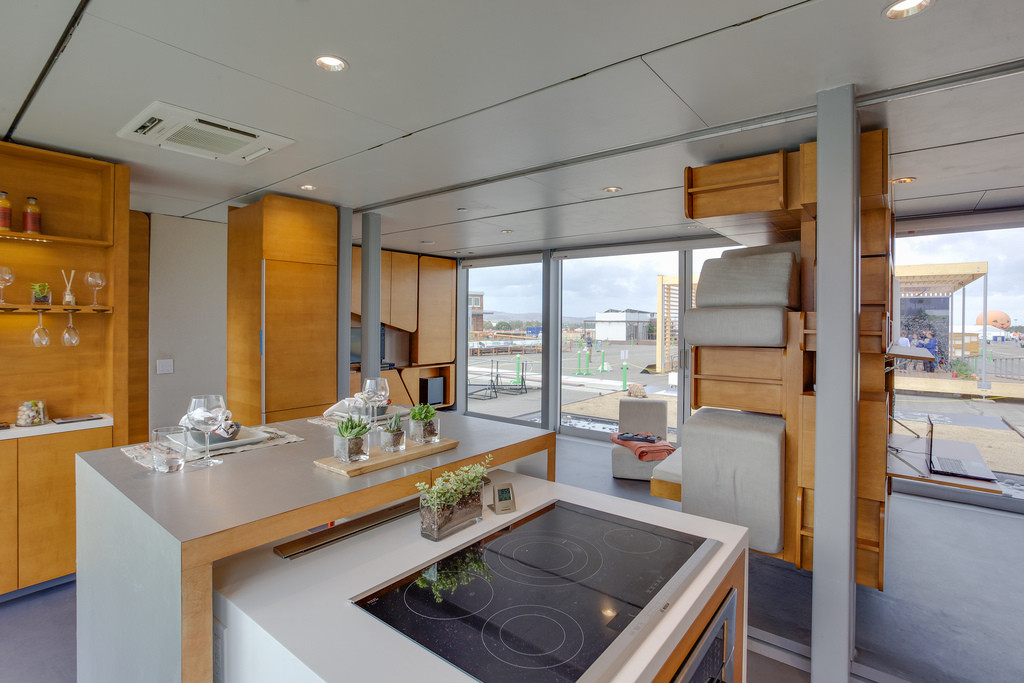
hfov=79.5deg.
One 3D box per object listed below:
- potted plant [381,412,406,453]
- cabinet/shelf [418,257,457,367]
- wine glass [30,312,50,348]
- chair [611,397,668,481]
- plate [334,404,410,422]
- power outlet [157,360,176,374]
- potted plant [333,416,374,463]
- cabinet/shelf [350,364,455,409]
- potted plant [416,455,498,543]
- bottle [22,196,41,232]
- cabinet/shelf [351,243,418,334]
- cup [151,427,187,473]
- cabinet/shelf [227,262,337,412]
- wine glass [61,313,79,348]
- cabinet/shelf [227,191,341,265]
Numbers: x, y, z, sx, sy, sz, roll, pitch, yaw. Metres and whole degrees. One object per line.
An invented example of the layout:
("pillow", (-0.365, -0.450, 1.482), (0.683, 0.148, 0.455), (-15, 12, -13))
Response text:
("potted plant", (-0.632, 0.479, 3.296), (0.135, 0.171, 0.167), (2, 14, -12))
("cabinet/shelf", (-1.076, -0.483, 9.445), (0.788, 1.640, 0.195), (2, 3, 35))
("wine glass", (-3.489, -0.081, 4.548), (0.112, 0.267, 0.202), (-6, 17, -37))
("chair", (1.363, 1.031, 6.559), (0.574, 0.724, 0.634), (2, 8, 22))
("plate", (-0.904, 0.418, 3.679), (0.219, 0.050, 0.229), (0, -1, 24))
("power outlet", (-3.575, 0.253, 6.350), (0.015, 0.131, 0.151), (1, 0, 39))
("potted plant", (-0.796, 0.500, 3.276), (0.211, 0.278, 0.249), (-1, -3, 43))
("cabinet/shelf", (-1.567, 0.659, 9.064), (0.340, 0.570, 1.726), (2, 1, 35))
("potted plant", (-0.317, 0.757, 3.095), (0.152, 0.358, 0.463), (-5, -2, 25))
("bottle", (-3.444, -0.907, 4.416), (0.112, 0.245, 0.218), (-6, 17, -37))
("cabinet/shelf", (-1.610, -0.790, 9.134), (0.462, 1.139, 1.323), (-9, 18, -43))
("cup", (-1.734, 0.521, 3.104), (0.173, 0.213, 0.208), (-2, 15, -24))
("cabinet/shelf", (-2.162, -0.034, 5.798), (1.010, 1.467, 0.785), (0, 15, -19))
("wine glass", (-3.334, -0.083, 4.640), (0.117, 0.285, 0.214), (-6, 17, -36))
("cabinet/shelf", (-2.422, -1.069, 6.071), (0.986, 0.670, 0.980), (1, 6, 20))
